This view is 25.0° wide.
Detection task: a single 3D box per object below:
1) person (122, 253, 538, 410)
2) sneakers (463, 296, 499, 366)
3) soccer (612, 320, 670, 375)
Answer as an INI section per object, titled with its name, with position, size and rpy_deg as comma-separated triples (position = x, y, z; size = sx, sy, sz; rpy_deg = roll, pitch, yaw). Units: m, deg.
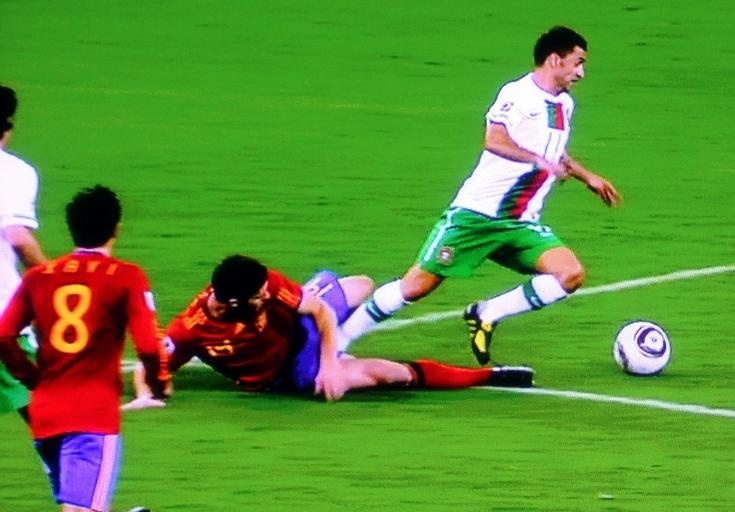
[person]
position = -0.454, 0.507, 11.378
size = 3.056, 1.041, 0.955
rpy_deg = -4, 21, -13
[sneakers]
position = 0.778, 0.571, 11.856
size = 0.258, 0.409, 0.189
rpy_deg = -4, 3, 32
[soccer]
position = 1.903, 0.655, 11.521
size = 0.421, 0.352, 0.283
rpy_deg = 3, 9, 5
